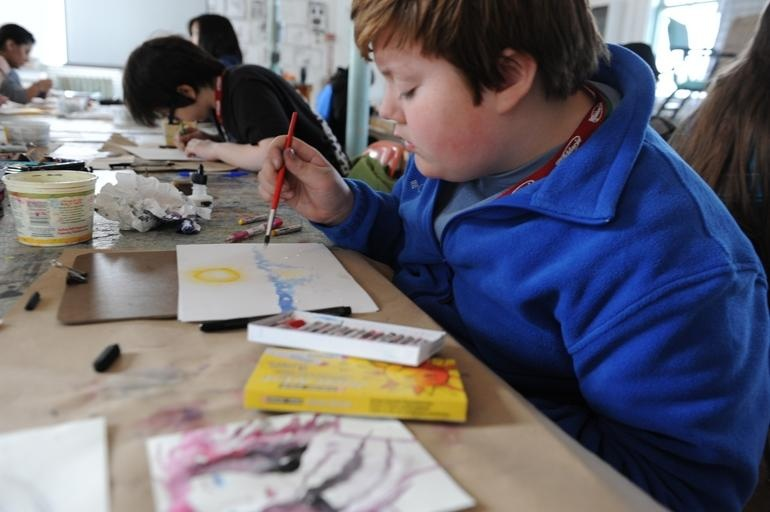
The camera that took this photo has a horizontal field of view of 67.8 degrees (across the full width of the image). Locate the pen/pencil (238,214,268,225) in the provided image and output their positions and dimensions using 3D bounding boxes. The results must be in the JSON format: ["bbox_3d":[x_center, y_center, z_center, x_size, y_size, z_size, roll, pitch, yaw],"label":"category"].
[{"bbox_3d":[-0.282,-0.078,1.229,0.066,0.016,0.014,-19,3,-25],"label":"pen/pencil"}]

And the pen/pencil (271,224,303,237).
[{"bbox_3d":[-0.202,-0.052,1.190,0.080,0.017,0.021,-11,50,-34],"label":"pen/pencil"}]

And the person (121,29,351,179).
[{"bbox_3d":[-0.455,-0.522,2.064,0.968,0.340,0.635,11,17,5],"label":"person"}]

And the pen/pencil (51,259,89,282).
[{"bbox_3d":[-0.491,0.026,0.903,0.100,0.017,0.027,25,7,35],"label":"pen/pencil"}]
